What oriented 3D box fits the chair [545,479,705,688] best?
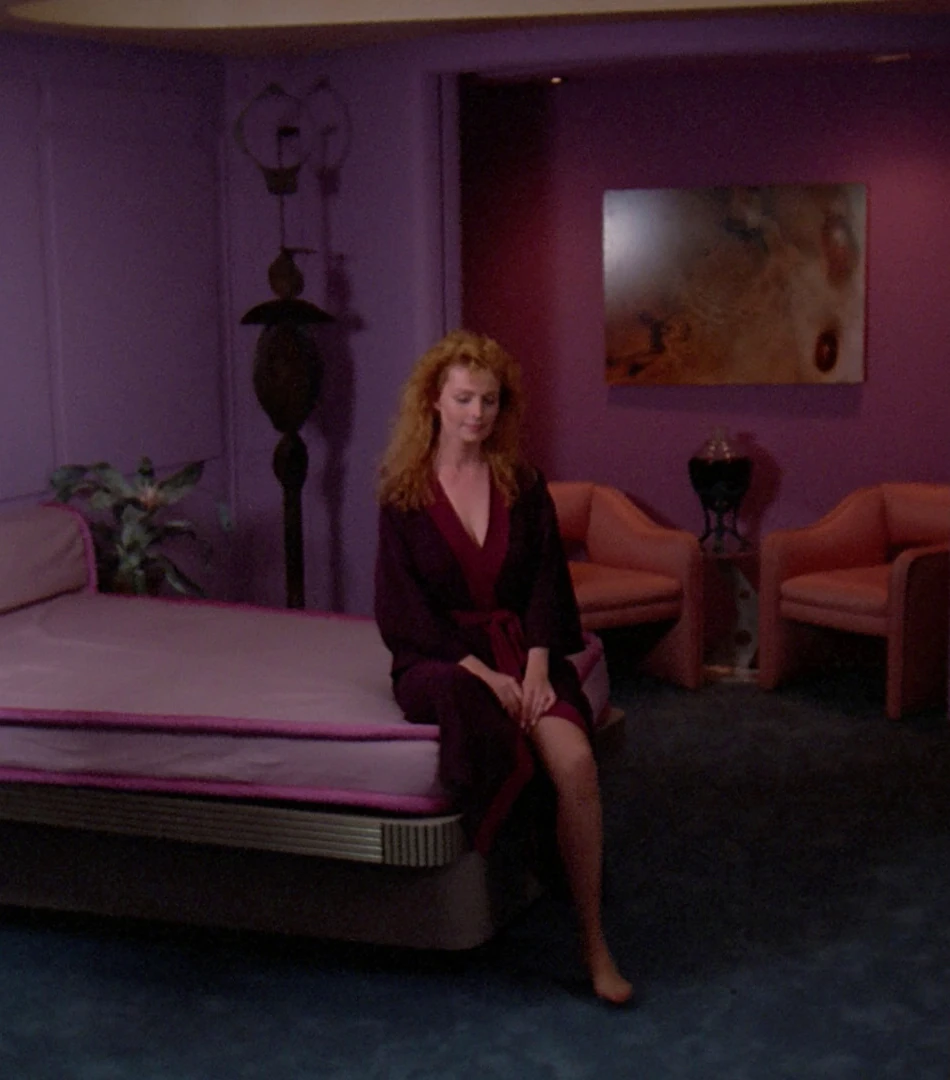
[{"bbox_3d":[0.630,0.110,4.530,0.725,0.825,0.775,-4,10,-26],"label":"chair"}]
